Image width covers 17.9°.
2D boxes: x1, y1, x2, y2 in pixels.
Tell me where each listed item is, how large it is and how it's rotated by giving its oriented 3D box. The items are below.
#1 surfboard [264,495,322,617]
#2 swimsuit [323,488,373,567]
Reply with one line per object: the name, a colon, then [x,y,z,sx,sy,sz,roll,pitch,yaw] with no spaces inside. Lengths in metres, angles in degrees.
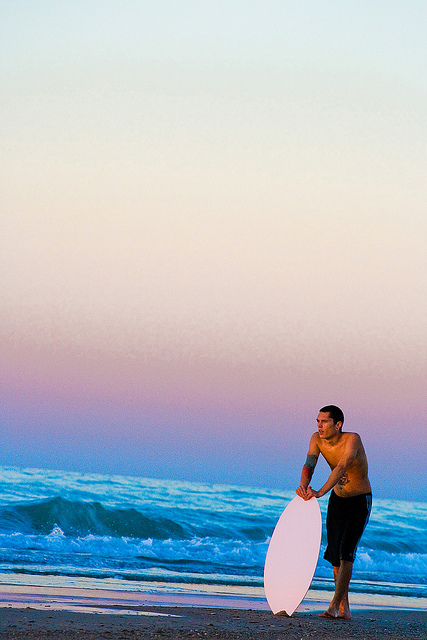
surfboard: [0.808,2.405,14.007,0.586,1.192,0.513,3,1,15]
swimsuit: [1.366,2.149,13.870,0.449,0.761,0.414,3,1,6]
